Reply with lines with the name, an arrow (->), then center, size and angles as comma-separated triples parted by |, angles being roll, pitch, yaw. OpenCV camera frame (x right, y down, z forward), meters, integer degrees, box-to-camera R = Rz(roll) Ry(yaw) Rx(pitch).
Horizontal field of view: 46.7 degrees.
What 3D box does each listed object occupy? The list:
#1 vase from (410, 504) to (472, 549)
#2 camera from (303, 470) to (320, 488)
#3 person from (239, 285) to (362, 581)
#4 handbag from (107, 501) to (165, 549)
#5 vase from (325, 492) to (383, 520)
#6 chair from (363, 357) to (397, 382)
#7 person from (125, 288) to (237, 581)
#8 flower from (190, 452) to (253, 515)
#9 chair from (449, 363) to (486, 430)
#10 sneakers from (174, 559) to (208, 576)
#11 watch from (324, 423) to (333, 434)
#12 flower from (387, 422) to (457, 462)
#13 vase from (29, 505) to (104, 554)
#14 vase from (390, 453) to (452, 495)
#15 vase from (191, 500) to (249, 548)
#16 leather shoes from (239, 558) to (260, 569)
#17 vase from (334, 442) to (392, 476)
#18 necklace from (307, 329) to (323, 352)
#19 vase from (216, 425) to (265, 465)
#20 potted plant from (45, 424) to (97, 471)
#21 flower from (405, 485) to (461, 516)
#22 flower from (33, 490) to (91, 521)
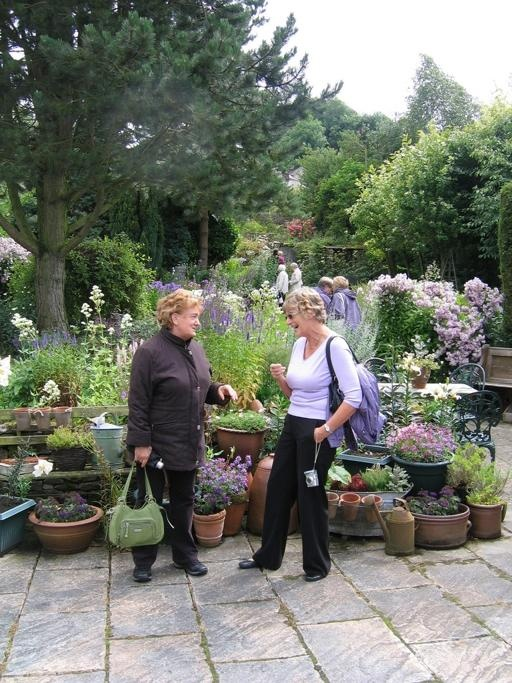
vase -> 1.187, 1.220, 3.873 | 0.313, 0.142, 0.259 | 0, -2, 0
camera -> 0.300, 0.726, 3.188 | 0.093, 0.101, 0.086 | -3, 9, 8
person -> 0.238, 0.522, 3.250 | 0.689, 1.611, 0.305 | 0, 1, 19
handbag -> -0.664, 0.982, 3.242 | 0.301, 0.253, 0.180 | 12, -16, -42
vase -> 0.641, 1.057, 3.935 | 0.276, 0.087, 0.224 | 0, 0, 19
chair -> 1.169, 0.268, 5.573 | 0.370, 0.190, 0.345 | -2, 2, -11
person -> -0.472, 0.523, 3.299 | 0.311, 1.611, 0.557 | 1, 1, 35
flower -> -0.245, 0.936, 3.896 | 0.404, 0.278, 0.430 | -1, -13, 0
chair -> 2.342, 0.556, 6.726 | 0.551, 0.753, 0.542 | -3, 15, 18
sneakers -> -0.373, 1.292, 3.435 | 0.211, 0.074, 0.075 | -3, -4, 39
watch -> 0.370, 0.451, 3.058 | 0.048, 0.034, 0.047 | 41, -19, 31
flower -> 1.168, 0.736, 4.317 | 0.330, 0.170, 0.326 | -1, 2, -10
vase -> -1.204, 1.198, 3.789 | 0.475, 0.201, 0.452 | 0, -1, -21
vase -> 1.186, 0.946, 4.248 | 0.294, 0.178, 0.274 | 0, -2, -3
vase -> -0.236, 1.185, 3.884 | 0.282, 0.174, 0.284 | 2, -8, -41
leather shoes -> -0.045, 1.299, 3.478 | 0.146, 0.054, 0.050 | 6, -3, -9
vase -> 0.811, 0.875, 4.447 | 0.342, 0.148, 0.436 | -2, 5, -4
necklace -> 0.315, 0.011, 3.229 | 0.120, 0.101, 0.070 | -2, -16, 8
vase -> -0.106, 0.732, 4.282 | 0.318, 0.202, 0.296 | 2, -4, -5
potted plant -> -1.299, 0.741, 4.192 | 0.342, 0.260, 0.311 | 2, -5, -11
flower -> 1.179, 1.073, 3.956 | 0.251, 0.080, 0.216 | -1, 7, -7
flower -> -1.212, 1.059, 3.741 | 0.223, 0.066, 0.214 | 4, 5, 28
